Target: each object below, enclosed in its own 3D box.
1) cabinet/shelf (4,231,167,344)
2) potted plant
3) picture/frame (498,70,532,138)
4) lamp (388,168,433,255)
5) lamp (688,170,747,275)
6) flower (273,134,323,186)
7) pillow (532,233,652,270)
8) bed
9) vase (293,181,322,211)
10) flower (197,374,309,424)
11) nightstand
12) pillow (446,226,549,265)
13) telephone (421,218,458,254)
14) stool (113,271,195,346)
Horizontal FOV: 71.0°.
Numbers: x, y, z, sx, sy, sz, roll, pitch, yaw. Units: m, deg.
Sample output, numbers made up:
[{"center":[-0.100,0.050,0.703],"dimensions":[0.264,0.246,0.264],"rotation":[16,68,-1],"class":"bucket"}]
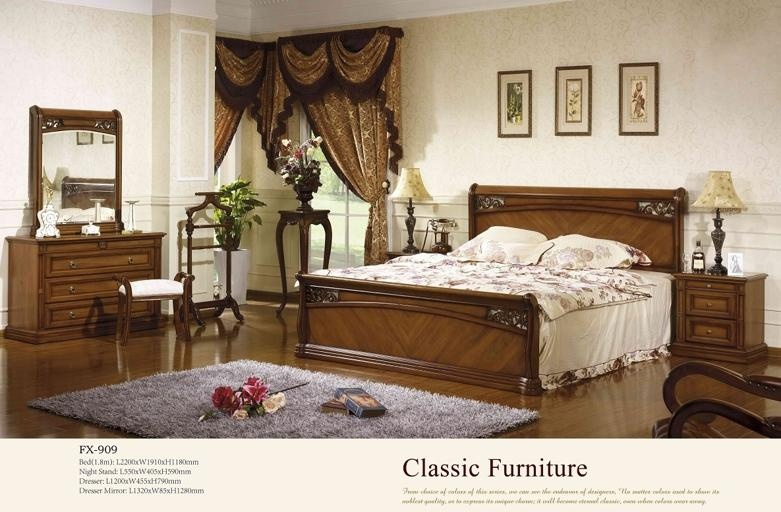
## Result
[{"center":[-3.444,0.296,6.296],"dimensions":[1.981,1.351,1.032],"rotation":[-2,3,-43],"class":"cabinet/shelf"},{"center":[-2.105,-0.224,7.624],"dimensions":[0.675,1.779,1.678],"rotation":[0,5,-8],"class":"potted plant"},{"center":[1.473,-1.818,6.535],"dimensions":[0.465,0.773,0.058],"rotation":[-7,14,-18],"class":"picture/frame"},{"center":[0.254,-0.582,7.014],"dimensions":[0.632,1.038,0.608],"rotation":[1,1,23],"class":"lamp"},{"center":[3.223,-0.352,5.420],"dimensions":[0.462,1.035,0.448],"rotation":[4,6,32],"class":"lamp"},{"center":[-1.266,-1.320,7.620],"dimensions":[0.632,0.687,1.076],"rotation":[0,5,-11],"class":"flower"},{"center":[1.862,-0.045,5.833],"dimensions":[0.576,0.173,0.602],"rotation":[28,-5,-34],"class":"pillow"},{"center":[1.180,0.452,5.423],"dimensions":[2.525,1.475,2.561],"rotation":[2,3,41],"class":"bed"},{"center":[-1.068,-0.821,7.362],"dimensions":[0.383,0.355,0.381],"rotation":[2,5,20],"class":"vase"},{"center":[-0.955,0.974,3.711],"dimensions":[0.433,0.139,0.273],"rotation":[-9,1,-41],"class":"flower"},{"center":[3.161,0.428,5.641],"dimensions":[1.141,1.083,0.801],"rotation":[2,2,40],"class":"nightstand"},{"center":[1.278,-0.113,6.043],"dimensions":[0.587,0.185,0.655],"rotation":[8,24,32],"class":"pillow"},{"center":[0.636,-0.260,6.874],"dimensions":[0.480,0.466,0.253],"rotation":[1,-1,29],"class":"telephone"},{"center":[-2.550,0.550,5.935],"dimensions":[0.744,0.654,0.534],"rotation":[0,3,-33],"class":"stool"}]
